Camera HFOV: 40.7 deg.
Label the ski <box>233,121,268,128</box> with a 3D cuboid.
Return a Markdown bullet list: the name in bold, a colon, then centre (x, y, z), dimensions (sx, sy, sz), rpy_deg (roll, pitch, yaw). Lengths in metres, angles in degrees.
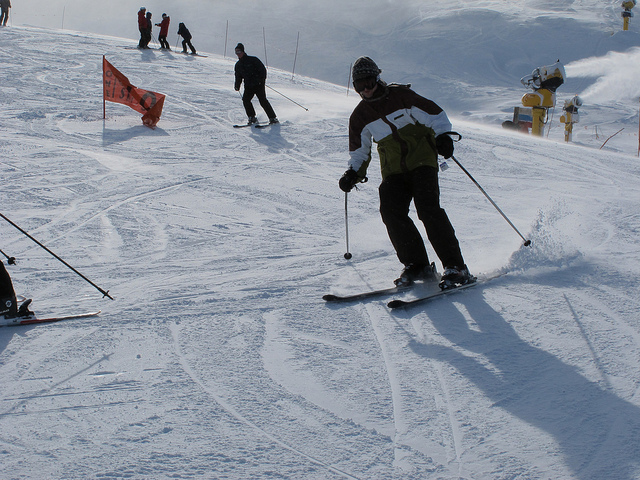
- **ski**: centre (-1.233, -2.030, 15.207), dimensions (0.629, 0.046, 0.051), rpy_deg (-15, 73, -32)

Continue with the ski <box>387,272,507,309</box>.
- **ski**: centre (1.236, 0.500, 8.346), dimensions (1.193, 0.074, 0.116), rpy_deg (-13, 7, -20)

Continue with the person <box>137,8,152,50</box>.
- **person**: centre (-4.910, -5.895, 24.199), dimensions (0.300, 1.153, 0.968), rpy_deg (5, 22, -8)

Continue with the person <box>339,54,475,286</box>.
- **person**: centre (0.887, -0.657, 8.519), dimensions (1.566, 2.166, 0.674), rpy_deg (21, 27, 30)

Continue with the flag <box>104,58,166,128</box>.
- **flag**: centre (-3.198, -2.512, 14.822), dimensions (0.608, 0.944, 1.441), rpy_deg (-13, 27, -40)

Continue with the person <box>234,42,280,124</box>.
- **person**: centre (-1.136, -2.738, 15.180), dimensions (0.965, 1.373, 0.556), rpy_deg (12, 24, 11)

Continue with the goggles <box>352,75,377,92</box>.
- **goggles**: centre (0.442, -1.522, 8.407), dimensions (0.240, 0.183, 0.130), rpy_deg (4, 22, -5)
